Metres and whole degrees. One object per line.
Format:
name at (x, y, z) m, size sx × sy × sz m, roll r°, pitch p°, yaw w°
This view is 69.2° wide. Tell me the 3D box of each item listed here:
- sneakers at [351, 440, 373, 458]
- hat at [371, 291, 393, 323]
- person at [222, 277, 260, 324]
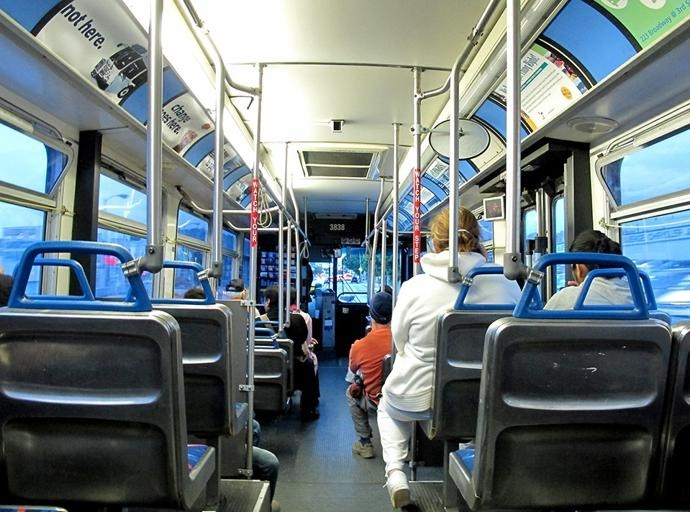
sneakers at (0.187, 1.938, 5.012) m, size 0.092 × 0.107 × 0.226 m, roll 2°, pitch -2°, yaw -20°
hat at (0.390, 0.552, 5.498) m, size 0.205 × 0.169 × 0.314 m, roll 2°, pitch 30°, yaw -4°
person at (-1.357, 0.521, 6.484) m, size 0.537 × 0.904 × 0.407 m, roll 0°, pitch -47°, yaw -14°
